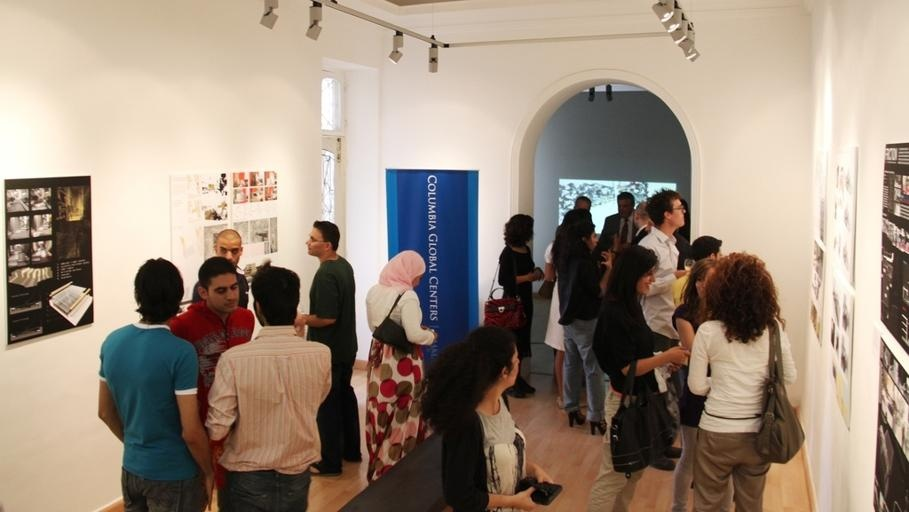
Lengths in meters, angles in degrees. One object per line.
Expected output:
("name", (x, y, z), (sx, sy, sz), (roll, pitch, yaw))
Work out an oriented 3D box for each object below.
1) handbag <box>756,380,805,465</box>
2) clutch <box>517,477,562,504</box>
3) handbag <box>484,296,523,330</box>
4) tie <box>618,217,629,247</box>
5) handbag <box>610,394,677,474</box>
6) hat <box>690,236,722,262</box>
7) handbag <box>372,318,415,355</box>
("handbag", (2.331, 1.167, 4.362), (0.290, 0.562, 0.599), (-1, -4, 36))
("clutch", (0.521, 1.449, 3.728), (0.186, 0.073, 0.207), (2, 11, 28))
("handbag", (0.580, 0.661, 6.877), (0.478, 0.449, 0.216), (-1, -1, 2))
("tie", (2.505, -0.346, 8.810), (0.239, 0.433, 0.105), (2, 4, 32))
("handbag", (1.532, 1.334, 4.650), (0.599, 0.567, 0.249), (-4, 2, -21))
("hat", (2.396, -0.057, 5.711), (0.230, 0.125, 0.167), (-34, 19, -17))
("handbag", (-0.525, 0.713, 5.337), (0.268, 0.255, 0.110), (25, -12, -18))
